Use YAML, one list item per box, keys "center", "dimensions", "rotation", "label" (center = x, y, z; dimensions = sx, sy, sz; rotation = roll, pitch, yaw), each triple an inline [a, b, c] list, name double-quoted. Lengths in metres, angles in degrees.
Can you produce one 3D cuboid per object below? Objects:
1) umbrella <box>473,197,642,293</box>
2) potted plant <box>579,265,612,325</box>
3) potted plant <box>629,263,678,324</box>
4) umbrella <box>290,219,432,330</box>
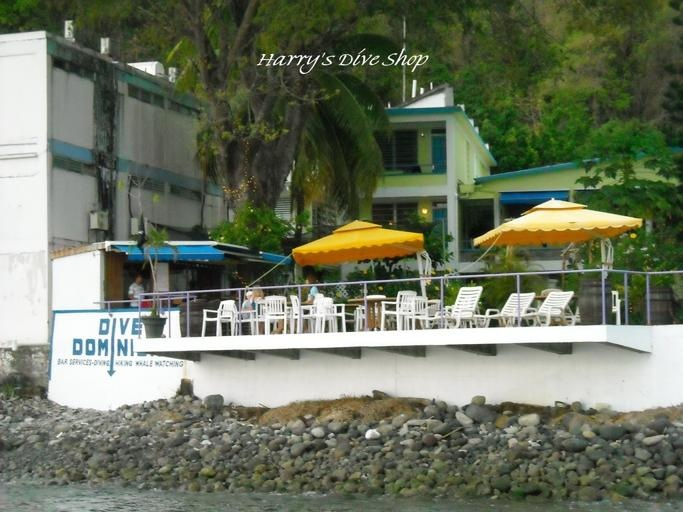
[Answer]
- center: [6.313, -0.579, 41.557]
  dimensions: [3.980, 2.095, 3.948]
  rotation: [-6, -8, 27]
  label: "umbrella"
- center: [6.952, 1.234, 39.226]
  dimensions: [0.880, 1.330, 0.590]
  rotation: [-4, -6, 23]
  label: "potted plant"
- center: [9.279, 1.060, 40.967]
  dimensions: [1.529, 1.762, 1.666]
  rotation: [0, -4, -6]
  label: "potted plant"
- center: [0.676, 0.668, 44.695]
  dimensions: [3.203, 3.206, 3.690]
  rotation: [-5, -2, -25]
  label: "umbrella"
